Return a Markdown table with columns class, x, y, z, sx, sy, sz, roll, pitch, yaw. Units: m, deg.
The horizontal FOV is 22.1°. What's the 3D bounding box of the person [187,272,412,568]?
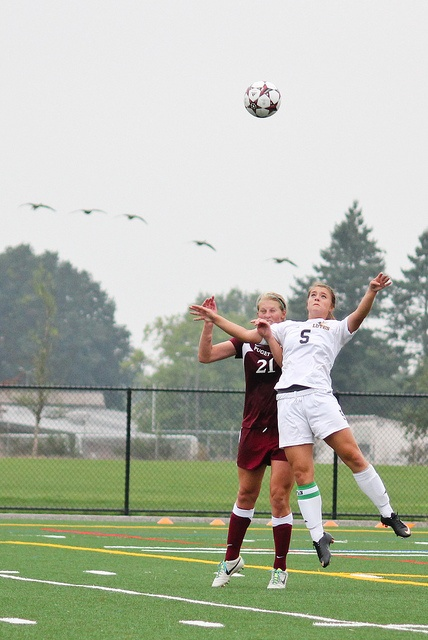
| class | x | y | z | sx | sy | sz | roll | pitch | yaw |
| --- | --- | --- | --- | --- | --- | --- | --- | --- | --- |
| person | 0.655 | 0.562 | 6.133 | 0.683 | 1.570 | 0.520 | 0 | -9 | 5 |
